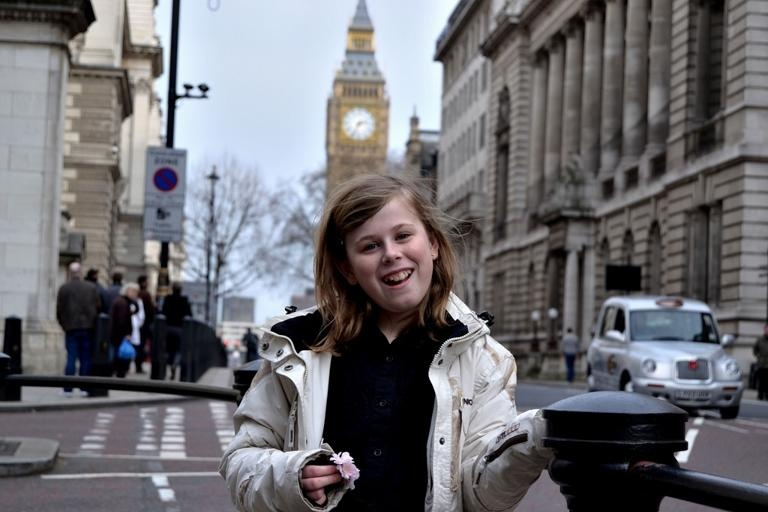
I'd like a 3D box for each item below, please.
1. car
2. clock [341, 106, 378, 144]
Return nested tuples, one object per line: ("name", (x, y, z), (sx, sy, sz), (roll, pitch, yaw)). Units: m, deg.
("car", (3.039, 1.176, 13.483), (1.144, 1.027, 2.269), (1, -10, -7))
("clock", (-0.180, -1.035, 9.238), (0.265, 0.256, 0.577), (1, -5, -2))
